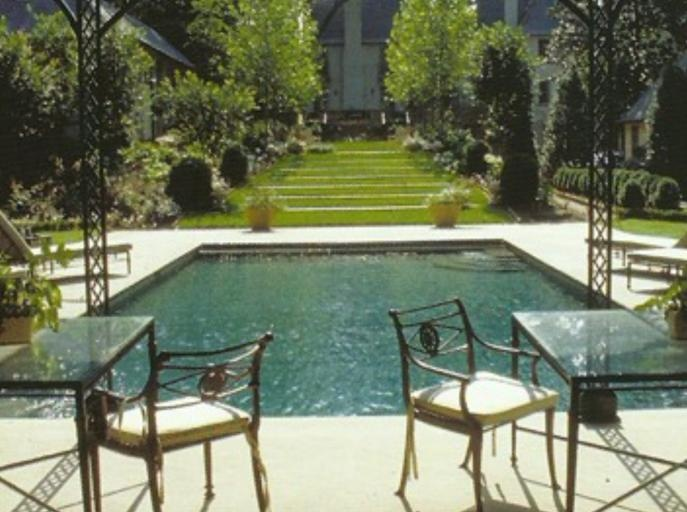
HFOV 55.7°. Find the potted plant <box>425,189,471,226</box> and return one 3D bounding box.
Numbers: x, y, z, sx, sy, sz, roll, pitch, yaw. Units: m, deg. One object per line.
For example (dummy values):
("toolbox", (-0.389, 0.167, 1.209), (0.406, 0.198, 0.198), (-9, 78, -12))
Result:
("potted plant", (2.890, -1.313, 17.692), (0.802, 1.027, 1.189), (9, 14, 39))

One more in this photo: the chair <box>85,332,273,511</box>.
("chair", (-1.107, 1.150, 4.359), (0.810, 1.087, 0.631), (-7, 15, -41))

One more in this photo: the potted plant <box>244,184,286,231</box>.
("potted plant", (-2.158, -1.264, 18.002), (1.145, 1.358, 1.231), (0, 4, -17))
